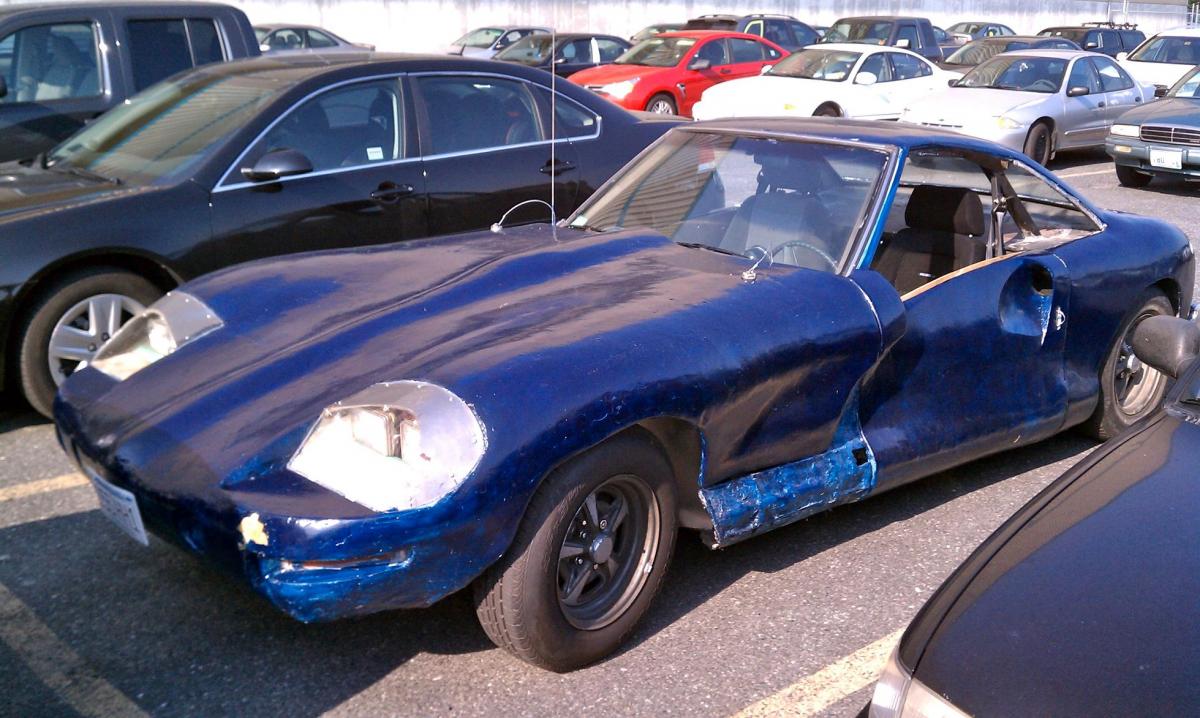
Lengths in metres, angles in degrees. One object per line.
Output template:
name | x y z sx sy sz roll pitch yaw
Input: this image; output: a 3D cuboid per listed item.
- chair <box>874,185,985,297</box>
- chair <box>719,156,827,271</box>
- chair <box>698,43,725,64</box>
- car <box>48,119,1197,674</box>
chair | 1.883 -0.548 4.609 0.528 0.730 0.639 15 31 33
chair | 0.962 -0.749 4.319 0.482 0.751 0.214 14 -4 27
chair | 2.487 -6.691 17.299 0.358 0.438 0.813 16 29 27
car | 0.556 -0.094 4.244 5.474 1.495 2.868 -12 19 -30
